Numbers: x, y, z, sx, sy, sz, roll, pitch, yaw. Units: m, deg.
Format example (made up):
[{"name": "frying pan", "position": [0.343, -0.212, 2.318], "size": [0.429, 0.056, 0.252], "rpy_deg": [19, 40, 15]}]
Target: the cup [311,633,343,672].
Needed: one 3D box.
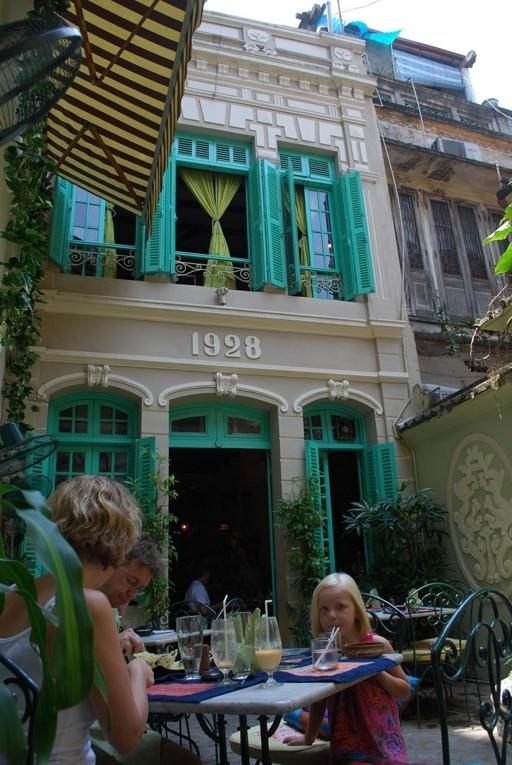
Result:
[{"name": "cup", "position": [0.240, 0.941, 2.026], "size": [0.104, 0.151, 0.165], "rpy_deg": [-1, -20, 1]}]

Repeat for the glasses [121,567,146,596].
[{"name": "glasses", "position": [-0.503, 0.841, 2.439], "size": [0.108, 0.084, 0.084], "rpy_deg": [-24, -37, 31]}]
